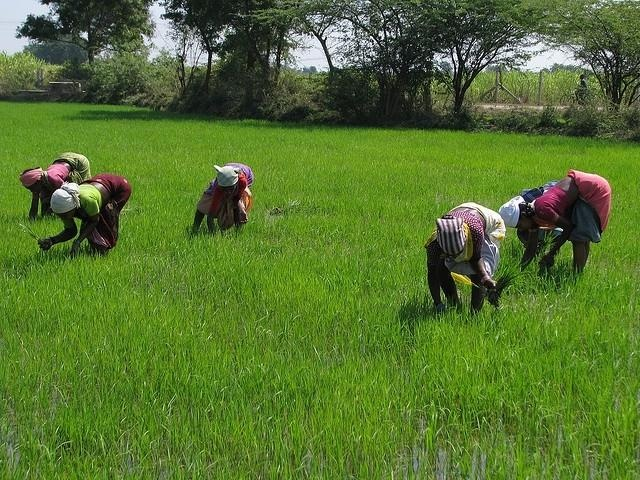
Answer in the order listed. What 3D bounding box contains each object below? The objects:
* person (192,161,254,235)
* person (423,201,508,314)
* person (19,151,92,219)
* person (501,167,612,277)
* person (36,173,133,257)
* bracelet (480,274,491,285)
[{"bbox_3d":[-1.322,-0.556,9.470,0.872,0.987,0.743,11,12,40],"label":"person"},{"bbox_3d":[1.429,0.186,6.646,0.653,0.934,1.162,5,36,25],"label":"person"},{"bbox_3d":[-3.783,-0.826,9.806,0.485,0.862,1.471,9,20,14],"label":"person"},{"bbox_3d":[2.725,-0.210,7.939,1.133,1.323,0.823,-4,17,7],"label":"person"},{"bbox_3d":[-2.852,-0.267,8.288,0.494,0.988,1.289,5,10,16],"label":"person"},{"bbox_3d":[1.581,0.399,6.452,0.107,0.098,0.078,6,10,15],"label":"bracelet"}]
